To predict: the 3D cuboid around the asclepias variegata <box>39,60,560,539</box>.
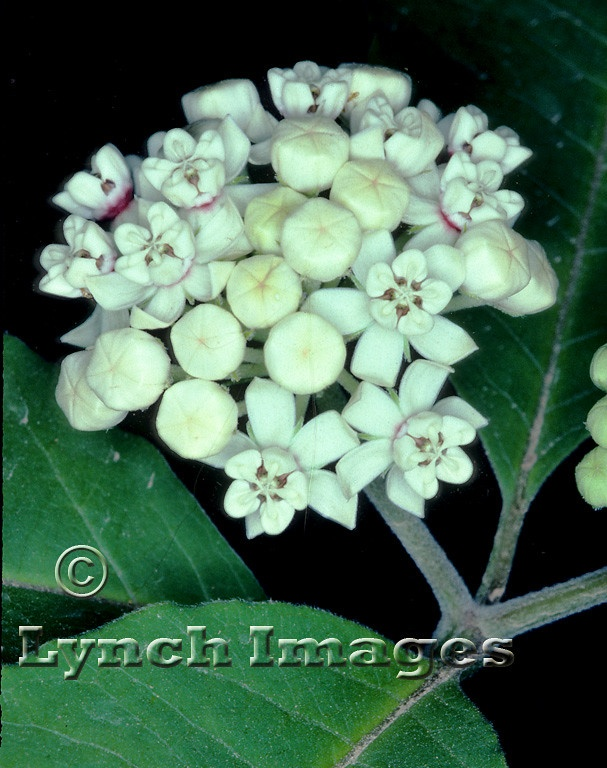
[{"bbox_3d":[-0.043,-0.186,2.750,1.304,1.088,1.189,16,57,7],"label":"asclepias variegata"}]
